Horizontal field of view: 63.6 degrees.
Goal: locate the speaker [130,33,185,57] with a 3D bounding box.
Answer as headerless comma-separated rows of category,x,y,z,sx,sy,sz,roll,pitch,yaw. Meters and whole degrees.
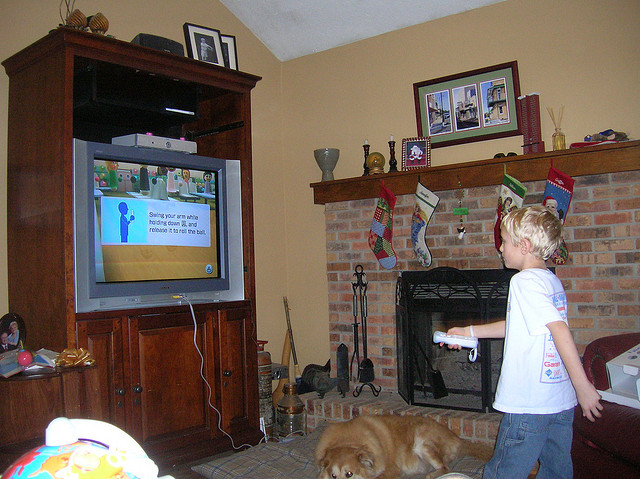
speaker,-0.962,-1.155,3.082,0.293,0.128,0.208,-4,-1,-25

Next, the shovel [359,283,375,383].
shovel,0.340,0.690,3.873,0.101,0.723,0.170,-4,-1,20

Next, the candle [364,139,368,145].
candle,0.371,-0.796,4.190,0.028,0.044,0.076,-4,-1,7

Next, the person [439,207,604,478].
person,0.847,0.416,2.033,0.437,1.114,0.246,-4,-1,24

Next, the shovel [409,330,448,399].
shovel,0.690,0.818,3.470,0.036,0.512,0.106,-2,-27,-27

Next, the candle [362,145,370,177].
candle,0.346,-0.600,3.944,0.056,0.247,0.209,-4,-1,7

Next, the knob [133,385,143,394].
knob,-1.008,0.822,2.840,0.050,0.045,0.027,-4,-1,-24

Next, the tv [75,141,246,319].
tv,-1.016,-0.055,3.185,1.044,0.905,0.403,0,-1,-42

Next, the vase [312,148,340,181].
vase,0.043,-0.606,4.228,0.238,0.274,0.235,-5,7,-42

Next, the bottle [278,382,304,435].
bottle,-0.211,1.182,3.597,0.189,0.345,0.102,-4,-1,-6

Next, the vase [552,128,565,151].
vase,1.535,-0.639,3.317,0.075,0.161,0.222,-4,-1,25

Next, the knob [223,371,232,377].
knob,-0.572,0.828,3.201,0.054,0.031,0.017,6,-3,-41
